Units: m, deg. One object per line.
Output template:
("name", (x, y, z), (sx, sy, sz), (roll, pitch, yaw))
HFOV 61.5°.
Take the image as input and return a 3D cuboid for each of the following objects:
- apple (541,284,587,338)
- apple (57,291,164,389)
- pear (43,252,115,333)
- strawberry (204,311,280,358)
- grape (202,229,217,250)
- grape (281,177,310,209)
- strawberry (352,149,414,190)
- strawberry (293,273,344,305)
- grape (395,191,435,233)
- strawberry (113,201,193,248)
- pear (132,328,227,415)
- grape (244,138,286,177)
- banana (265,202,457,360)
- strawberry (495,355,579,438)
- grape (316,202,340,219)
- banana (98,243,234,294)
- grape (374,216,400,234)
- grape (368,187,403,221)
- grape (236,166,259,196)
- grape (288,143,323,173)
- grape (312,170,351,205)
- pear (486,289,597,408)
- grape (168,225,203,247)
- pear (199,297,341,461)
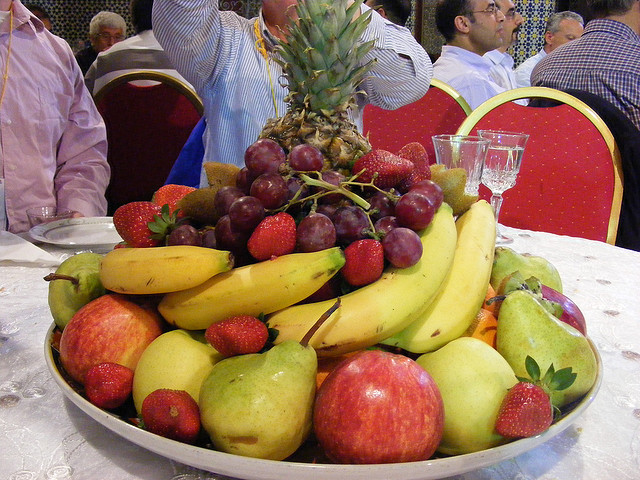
("apple", (0.415, 0.115, 0.899), (0.107, 0.033, 0.058), (56, 2, 1))
("apple", (-0.335, 0.161, 0.863), (0.128, 0.164, 0.137), (-3, 8, 29))
("pear", (-0.393, 0.090, 0.876), (0.086, 0.099, 0.124), (-24, -6, 22))
("strawberry", (-0.109, 0.132, 0.752), (0.093, 0.075, 0.073), (4, 35, -21))
("grape", (-0.173, -0.001, 0.842), (0.024, 0.034, 0.026), (-5, -6, 6))
("grape", (-0.035, -0.072, 0.857), (0.034, 0.049, 0.028), (30, -9, 22))
("strawberry", (0.099, -0.102, 0.848), (0.078, 0.056, 0.056), (2, -15, -29))
("strawberry", (0.000, 0.079, 0.835), (0.059, 0.040, 0.048), (-22, -2, -10))
("grape", (0.143, -0.047, 0.829), (0.068, 0.063, 0.058), (2, 35, 12))
("strawberry", (-0.269, -0.024, 0.846), (0.102, 0.096, 0.079), (-4, -9, 3))
("pear", (-0.206, 0.175, 0.820), (0.115, 0.108, 0.116), (46, -4, 24))
("grape", (-0.086, -0.119, 0.851), (0.052, 0.068, 0.052), (-15, -22, 36))
("banana", (0.063, 0.058, 0.837), (0.158, 0.285, 0.087), (50, 5, -46))
("strawberry", (0.295, 0.214, 0.729), (0.077, 0.071, 0.092), (17, 30, 31))
("grape", (0.012, -0.048, 0.825), (0.028, 0.024, 0.022), (8, 5, 14))
("banana", (-0.227, 0.041, 0.825), (0.223, 0.083, 0.080), (-4, -19, 11))
("grape", (0.102, -0.025, 0.812), (0.030, 0.030, 0.027), (-3, -22, 0))
("grape", (0.098, -0.057, 0.837), (0.042, 0.049, 0.061), (-16, -7, -21))
("grape", (-0.122, -0.100, 0.870), (0.041, 0.057, 0.044), (2, 12, 7))
("grape", (-0.022, -0.126, 0.815), (0.041, 0.045, 0.052), (-7, 51, -15))
("grape", (0.017, -0.079, 0.833), (0.059, 0.054, 0.051), (16, 22, 2))
("pear", (0.329, 0.146, 0.812), (0.168, 0.123, 0.083), (54, 24, 9))
("grape", (-0.204, -0.006, 0.808), (0.033, 0.038, 0.038), (-24, -29, 30))
("pear", (-0.054, 0.215, 0.765), (0.161, 0.292, 0.165), (8, -22, 15))
